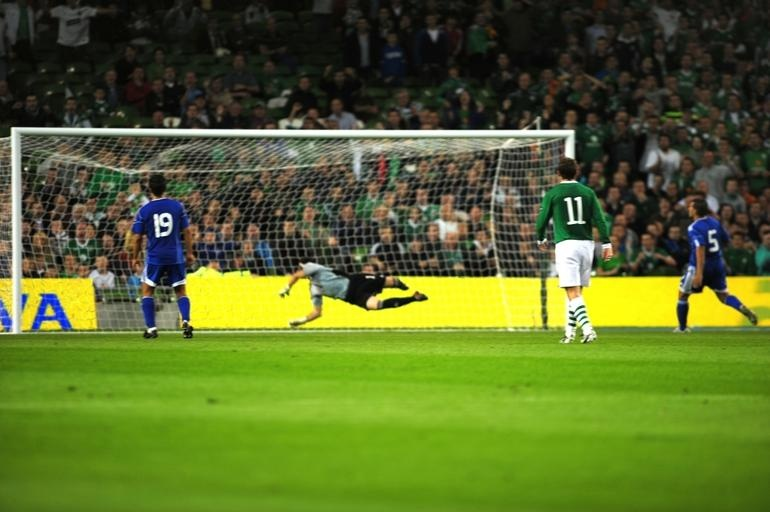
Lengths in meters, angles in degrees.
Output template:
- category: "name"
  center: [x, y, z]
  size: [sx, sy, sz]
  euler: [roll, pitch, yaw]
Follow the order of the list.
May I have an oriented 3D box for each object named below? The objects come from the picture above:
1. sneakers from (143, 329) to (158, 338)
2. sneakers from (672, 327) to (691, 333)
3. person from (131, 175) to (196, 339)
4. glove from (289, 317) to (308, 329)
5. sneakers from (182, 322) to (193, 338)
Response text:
- category: "sneakers"
  center: [-3.406, 1.122, 15.758]
  size: [0.101, 0.116, 0.262]
  euler: [0, 0, -30]
- category: "sneakers"
  center: [4.657, 1.164, 17.097]
  size: [0.301, 0.108, 0.125]
  euler: [1, 5, 26]
- category: "person"
  center: [-3.250, -0.020, 15.839]
  size: [0.850, 2.341, 0.758]
  euler: [-3, 6, -12]
- category: "glove"
  center: [-1.332, 1.009, 16.701]
  size: [0.276, 0.110, 0.168]
  euler: [-13, -16, -37]
- category: "sneakers"
  center: [-2.852, 1.059, 15.642]
  size: [0.135, 0.231, 0.298]
  euler: [-3, 6, -13]
